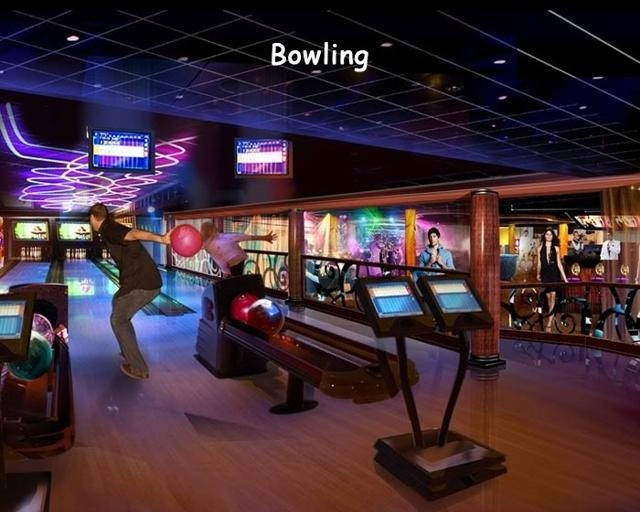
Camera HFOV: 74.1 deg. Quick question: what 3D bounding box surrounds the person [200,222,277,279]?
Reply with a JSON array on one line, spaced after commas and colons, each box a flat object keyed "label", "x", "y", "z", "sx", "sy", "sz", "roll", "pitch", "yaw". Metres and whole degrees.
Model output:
[{"label": "person", "x": -1.313, "y": -0.059, "z": 6.238, "sx": 0.728, "sy": 0.848, "sz": 1.154, "roll": 0, "pitch": 5, "yaw": 5}]

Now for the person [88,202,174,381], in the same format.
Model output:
[{"label": "person", "x": -1.672, "y": 0.347, "z": 3.929, "sx": 0.851, "sy": 1.636, "sz": 0.441, "roll": 3, "pitch": 7, "yaw": 34}]

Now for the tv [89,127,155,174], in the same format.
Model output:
[{"label": "tv", "x": -3.073, "y": -1.631, "z": 6.560, "sx": 0.741, "sy": 0.511, "sz": 0.081, "roll": 1, "pitch": 1, "yaw": -19}]

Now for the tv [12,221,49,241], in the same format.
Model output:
[{"label": "tv", "x": -20.088, "y": -1.695, "z": 29.344, "sx": 1.541, "sy": 1.030, "sz": 0.210, "roll": 0, "pitch": -16, "yaw": -41}]

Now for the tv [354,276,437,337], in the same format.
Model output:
[{"label": "tv", "x": 0.444, "y": 0.295, "z": 2.440, "sx": 0.429, "sy": 0.328, "sz": 0.264, "roll": -2, "pitch": 6, "yaw": -17}]
